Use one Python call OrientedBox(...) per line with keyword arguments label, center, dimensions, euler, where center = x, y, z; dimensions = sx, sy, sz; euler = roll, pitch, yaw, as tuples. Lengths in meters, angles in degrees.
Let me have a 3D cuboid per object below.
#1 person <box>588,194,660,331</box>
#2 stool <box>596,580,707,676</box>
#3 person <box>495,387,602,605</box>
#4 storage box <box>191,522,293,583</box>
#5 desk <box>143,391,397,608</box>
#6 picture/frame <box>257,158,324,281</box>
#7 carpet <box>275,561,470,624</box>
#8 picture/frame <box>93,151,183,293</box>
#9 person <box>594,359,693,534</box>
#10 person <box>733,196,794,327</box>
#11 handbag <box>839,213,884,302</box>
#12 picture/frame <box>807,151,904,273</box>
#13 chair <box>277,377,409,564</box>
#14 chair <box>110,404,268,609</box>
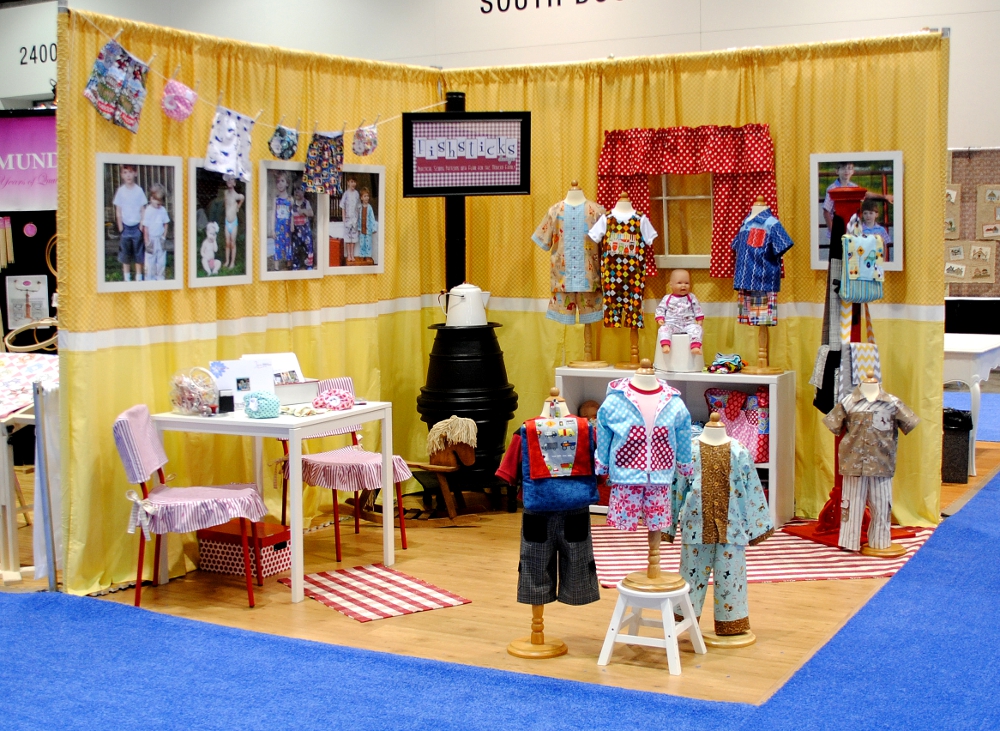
OrientedBox(label="person", center=(0.815, -0.700, 6.220), dimensions=(0.437, 0.930, 0.241), euler=(0, 6, 4))
OrientedBox(label="stool", center=(0.710, 1.119, 4.201), dimensions=(0.447, 0.378, 0.570), euler=(2, 7, 19))
OrientedBox(label="person", center=(0.208, 0.601, 4.114), dimensions=(0.435, 0.919, 0.133), euler=(-1, 6, -2))
OrientedBox(label="storage box", center=(-1.522, 1.082, 5.356), dimensions=(0.394, 0.268, 0.415), euler=(-13, -17, 25))
OrientedBox(label="desk", center=(-1.283, 0.574, 5.212), dimensions=(1.115, 1.191, 1.002), euler=(0, 2, 32))
OrientedBox(label="picture/frame", center=(-1.343, -0.933, 5.785), dimensions=(0.039, 1.039, 0.704), euler=(0, 2, 28))
OrientedBox(label="carpet", center=(-0.678, 1.218, 4.927), dimensions=(0.980, 0.015, 0.575), euler=(6, 10, 45))
OrientedBox(label="picture/frame", center=(-1.989, -0.792, 4.984), dimensions=(0.036, 1.029, 0.670), euler=(4, 7, 33))
OrientedBox(label="person", center=(0.641, 0.406, 4.150), dimensions=(0.425, 0.772, 0.237), euler=(1, 6, 11))
OrientedBox(label="person", center=(1.685, -0.660, 5.979), dimensions=(0.353, 0.817, 0.259), euler=(1, 6, 14))
OrientedBox(label="handbag", center=(2.205, -0.582, 5.569), dimensions=(0.308, 0.416, 0.123), euler=(-3, 6, -20))
OrientedBox(label="picture/frame", center=(2.240, -0.975, 5.762), dimensions=(0.702, 1.053, 0.036), euler=(1, 2, 16))
OrientedBox(label="chair", center=(-1.043, 0.695, 5.692), dimensions=(0.780, 1.167, 0.871), euler=(-8, -1, -20))
OrientedBox(label="chair", center=(-1.647, 0.754, 4.917), dimensions=(0.665, 1.041, 0.664), euler=(-3, 1, -12))
